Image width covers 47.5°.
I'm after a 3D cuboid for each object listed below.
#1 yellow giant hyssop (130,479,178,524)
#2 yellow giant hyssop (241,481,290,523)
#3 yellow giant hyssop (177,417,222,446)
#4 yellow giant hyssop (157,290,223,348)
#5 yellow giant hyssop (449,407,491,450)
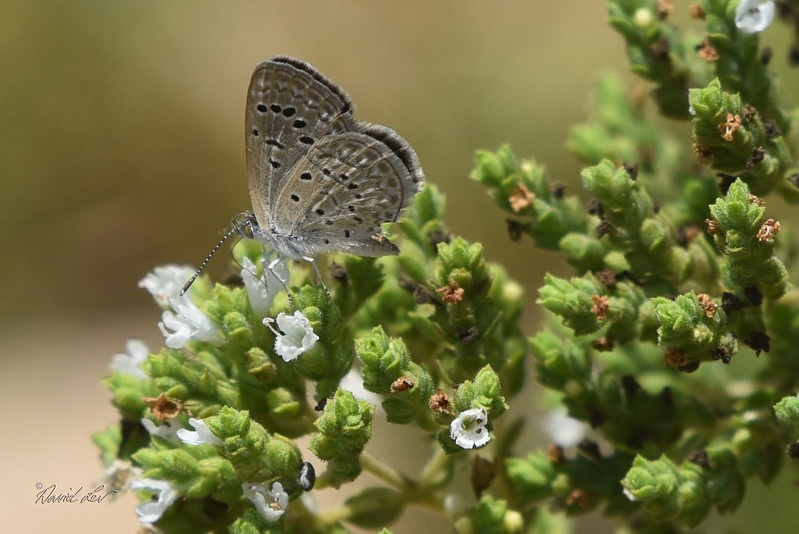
[{"bbox_3d":[-1.261,1.202,4.645,0.202,0.163,0.270,-14,-72,-28],"label":"yellow giant hyssop"},{"bbox_3d":[-0.615,1.158,4.469,0.191,0.209,0.079,-26,-38,-47],"label":"yellow giant hyssop"},{"bbox_3d":[-0.997,0.831,4.486,0.208,0.061,0.144,25,-61,-38],"label":"yellow giant hyssop"},{"bbox_3d":[-1.093,0.281,4.701,0.245,0.213,0.312,-3,-85,-21],"label":"yellow giant hyssop"},{"bbox_3d":[0.355,0.779,4.348,0.222,0.162,0.137,-24,-45,-14],"label":"yellow giant hyssop"}]
